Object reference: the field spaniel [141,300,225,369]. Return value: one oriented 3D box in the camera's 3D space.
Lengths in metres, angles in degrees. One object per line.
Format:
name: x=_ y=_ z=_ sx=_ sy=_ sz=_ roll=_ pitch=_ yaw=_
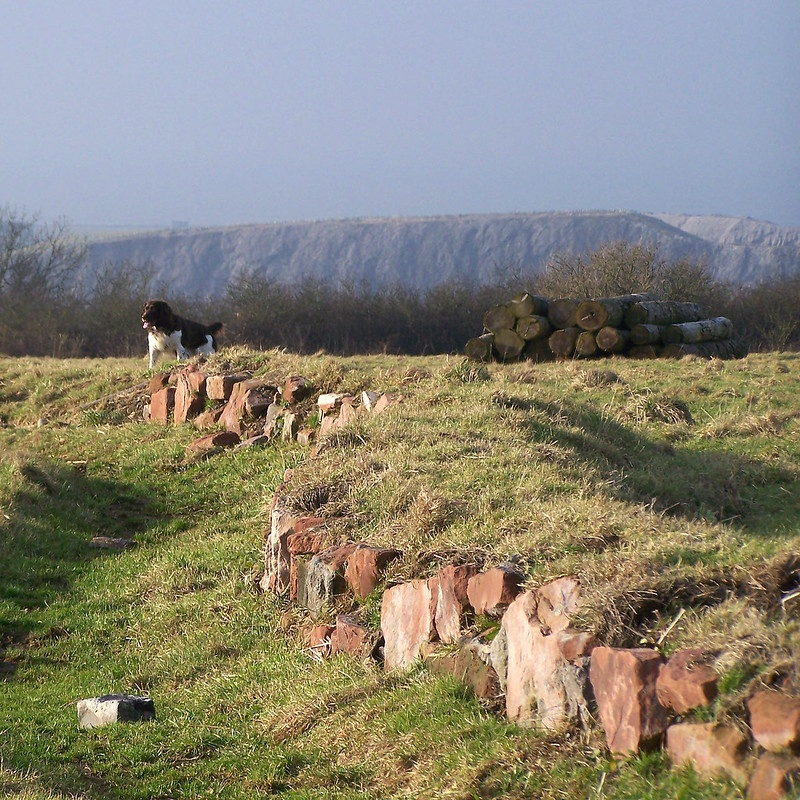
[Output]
field spaniel: x=-3.860 y=-1.056 z=25.001 sx=0.724 sy=0.984 sz=1.945 roll=4 pitch=7 yaw=6
